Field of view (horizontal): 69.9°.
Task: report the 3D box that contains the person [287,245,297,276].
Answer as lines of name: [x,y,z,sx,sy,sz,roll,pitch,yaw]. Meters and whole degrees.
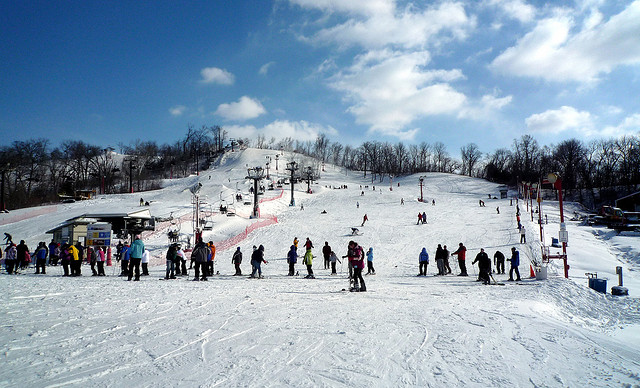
person: [-1.725,4.048,27.929,0.586,1.774,1.217,-3,-4,-5]

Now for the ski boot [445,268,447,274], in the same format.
ski boot: [8.009,4.916,29.177,0.112,0.201,0.110,-18,7,-35]

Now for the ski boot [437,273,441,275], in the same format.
ski boot: [7.363,4.922,28.348,0.082,0.092,0.266,-1,-5,-34]

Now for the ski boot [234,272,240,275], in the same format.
ski boot: [-4.978,4.771,27.478,0.370,0.089,0.131,-5,-5,29]

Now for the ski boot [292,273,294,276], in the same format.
ski boot: [-1.657,4.915,28.065,0.139,0.138,0.077,-1,-39,-5]

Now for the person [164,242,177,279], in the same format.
person: [-8.239,3.693,25.355,0.678,1.886,0.721,-2,-4,-19]

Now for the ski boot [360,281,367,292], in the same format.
ski boot: [2.169,4.618,23.032,0.299,0.497,0.396,-4,-4,22]

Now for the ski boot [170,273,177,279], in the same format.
ski boot: [-8.138,4.508,25.295,0.269,0.273,0.485,6,2,-25]

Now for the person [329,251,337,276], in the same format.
person: [0.861,4.332,29.008,0.360,1.353,0.706,-3,-3,1]

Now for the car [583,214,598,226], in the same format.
car: [28.205,2.679,48.051,1.006,0.822,1.686,-1,4,20]

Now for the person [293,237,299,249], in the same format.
person: [-1.865,3.785,35.445,0.424,0.484,1.285,-17,0,-4]

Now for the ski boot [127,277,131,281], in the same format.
ski boot: [-10.132,4.507,24.327,0.153,0.159,0.155,-1,-13,3]

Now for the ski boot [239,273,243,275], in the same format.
ski boot: [-4.802,4.847,27.842,0.094,0.172,0.093,3,18,12]

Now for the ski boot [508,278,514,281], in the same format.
ski boot: [10.945,4.899,26.328,0.148,0.146,0.269,-5,-17,27]

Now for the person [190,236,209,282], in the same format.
person: [-6.561,3.523,24.991,0.923,2.374,0.919,-2,-4,-21]

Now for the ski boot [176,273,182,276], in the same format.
ski boot: [-8.086,4.614,26.377,0.257,0.169,0.634,-3,-4,-4]

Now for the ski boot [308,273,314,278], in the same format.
ski boot: [-0.495,4.798,27.015,0.217,0.234,0.446,-6,-5,40]

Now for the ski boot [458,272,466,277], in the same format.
ski boot: [8.645,4.867,27.968,0.414,0.272,0.558,-1,-5,-30]
